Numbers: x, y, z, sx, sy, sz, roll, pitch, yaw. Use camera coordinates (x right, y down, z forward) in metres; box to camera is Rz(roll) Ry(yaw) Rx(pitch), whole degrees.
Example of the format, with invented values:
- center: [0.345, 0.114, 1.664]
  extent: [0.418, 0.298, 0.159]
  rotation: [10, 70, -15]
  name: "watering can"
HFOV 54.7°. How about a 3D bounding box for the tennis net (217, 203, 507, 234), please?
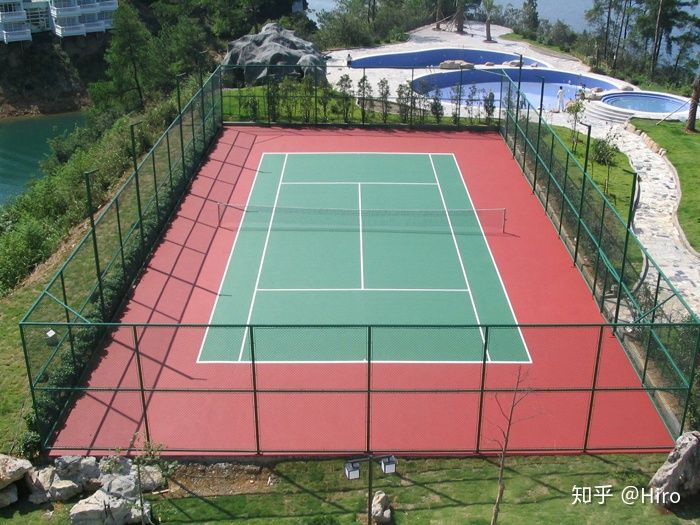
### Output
- center: [0.468, -2.310, 33.345]
  extent: [14.767, 0.845, 2.571]
  rotation: [3, 24, 1]
  name: "tennis net"
